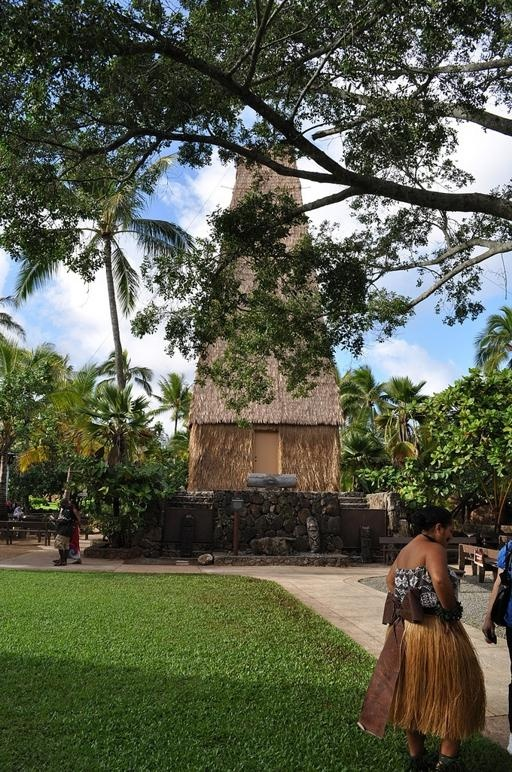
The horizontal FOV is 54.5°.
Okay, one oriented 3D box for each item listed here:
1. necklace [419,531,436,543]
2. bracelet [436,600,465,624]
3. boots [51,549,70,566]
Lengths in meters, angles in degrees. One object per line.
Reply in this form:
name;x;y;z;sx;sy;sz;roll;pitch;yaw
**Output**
necklace;0.882;0.764;2.529;0.038;0.046;0.051;12;0;5
bracelet;0.924;1.062;2.367;0.097;0.091;0.129;1;-6;13
boots;-5.327;4.639;13.540;0.373;0.414;1.216;5;-9;-20
